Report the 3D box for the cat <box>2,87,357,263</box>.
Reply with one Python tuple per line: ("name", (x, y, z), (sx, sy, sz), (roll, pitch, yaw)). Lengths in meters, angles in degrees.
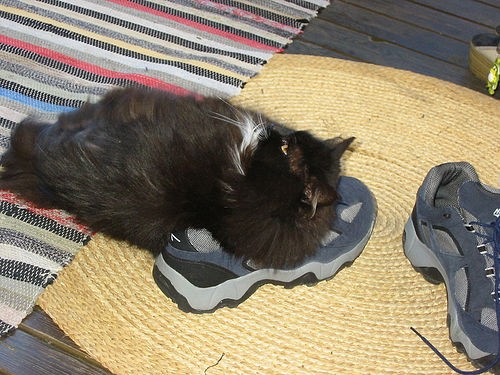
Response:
("cat", (-0.127, -0.005, 1.482), (0.729, 0.268, 0.294), (7, 68, -2))
